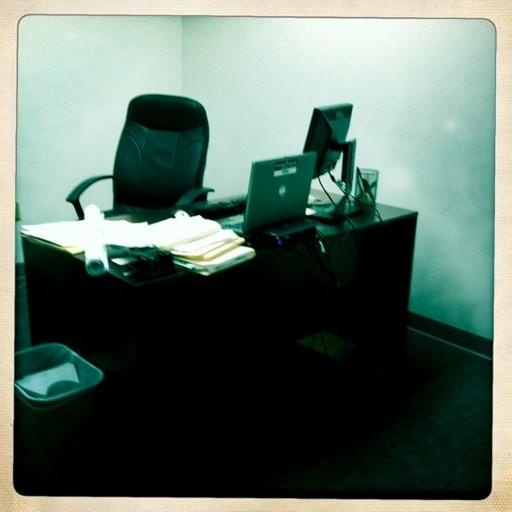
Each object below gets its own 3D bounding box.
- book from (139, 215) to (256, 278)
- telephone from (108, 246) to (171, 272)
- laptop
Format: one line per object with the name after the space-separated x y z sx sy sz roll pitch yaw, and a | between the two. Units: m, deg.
-0.147 -0.073 1.478 0.208 0.050 0.214 18 26 25 | book
-0.313 0.005 1.388 0.096 0.023 0.094 14 13 25 | telephone
0.000 -0.235 1.743 0.271 0.266 0.375 26 33 37 | laptop
